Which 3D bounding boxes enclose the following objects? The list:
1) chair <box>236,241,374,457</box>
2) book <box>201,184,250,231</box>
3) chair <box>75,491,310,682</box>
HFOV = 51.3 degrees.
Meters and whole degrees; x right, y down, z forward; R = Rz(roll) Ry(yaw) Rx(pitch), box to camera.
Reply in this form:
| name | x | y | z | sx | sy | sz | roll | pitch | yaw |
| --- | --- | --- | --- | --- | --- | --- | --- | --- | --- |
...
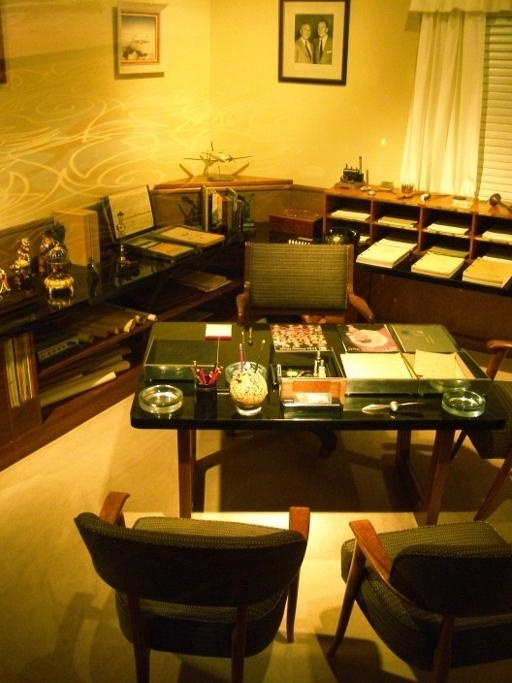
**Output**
| name | x | y | z | sx | sy | sz | roll | pitch | yaw |
| --- | --- | --- | --- | --- | --- | --- | --- | --- | --- |
| chair | 0.227 | -0.035 | 2.745 | 0.621 | 0.861 | 0.579 | 1 | 21 | 1 |
| book | -0.203 | -0.960 | 3.794 | 0.317 | 0.425 | 0.319 | 3 | 19 | 1 |
| chair | -0.157 | 0.611 | 1.269 | 0.407 | 0.504 | 0.463 | 3 | 41 | 2 |
